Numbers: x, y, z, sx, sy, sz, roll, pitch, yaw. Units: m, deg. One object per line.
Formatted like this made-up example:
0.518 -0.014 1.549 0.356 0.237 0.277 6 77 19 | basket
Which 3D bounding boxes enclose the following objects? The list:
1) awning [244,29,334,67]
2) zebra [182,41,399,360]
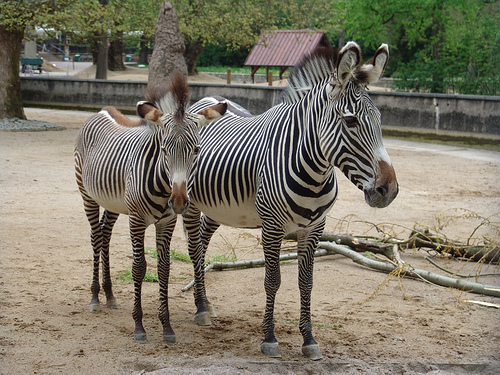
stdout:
0.974 -6.241 35.121 3.024 2.114 1.254 -9 0 -42 | awning
0.565 0.126 11.703 2.851 4.372 1.164 3 11 10 | zebra
